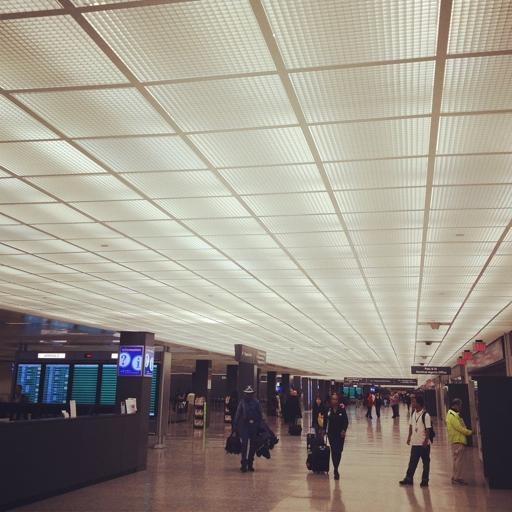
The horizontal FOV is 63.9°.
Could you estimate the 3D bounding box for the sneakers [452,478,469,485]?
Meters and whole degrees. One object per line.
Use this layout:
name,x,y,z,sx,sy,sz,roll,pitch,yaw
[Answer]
sneakers,4.470,4.962,9.093,0.375,0.126,0.115,3,-18,14

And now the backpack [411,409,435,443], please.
backpack,3.667,3.714,9.100,0.495,0.629,0.542,3,-8,-23

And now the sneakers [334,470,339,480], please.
sneakers,1.811,4.961,9.342,0.102,0.195,0.172,-1,-16,9
